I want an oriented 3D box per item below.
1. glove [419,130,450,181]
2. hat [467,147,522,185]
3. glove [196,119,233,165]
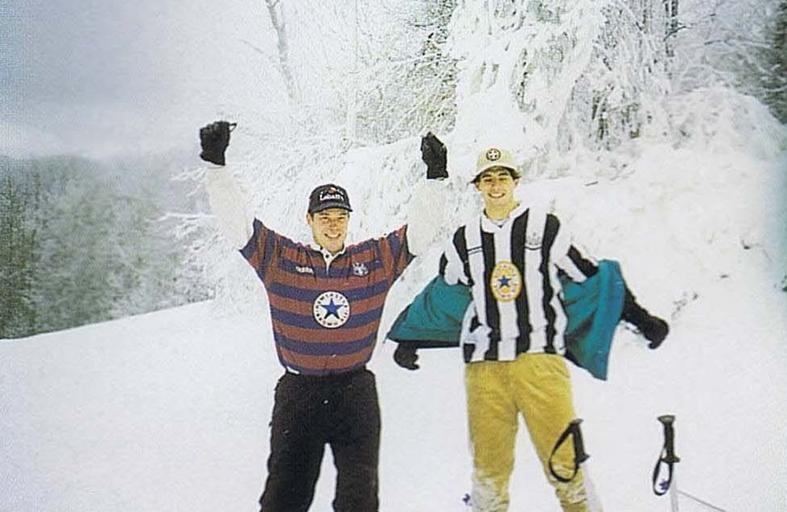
[{"bbox_3d":[0.234,-0.576,5.249,0.141,0.268,0.226,-3,9,2],"label":"glove"},{"bbox_3d":[0.590,-0.560,5.375,0.182,0.270,0.257,-3,7,3],"label":"hat"},{"bbox_3d":[-1.000,-0.634,5.102,0.213,0.233,0.060,-1,7,-26],"label":"glove"}]
